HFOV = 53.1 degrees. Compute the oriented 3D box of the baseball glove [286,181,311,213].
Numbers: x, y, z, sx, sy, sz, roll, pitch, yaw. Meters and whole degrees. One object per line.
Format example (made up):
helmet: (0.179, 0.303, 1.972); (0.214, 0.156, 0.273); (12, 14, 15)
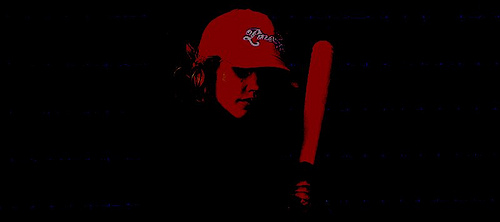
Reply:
baseball glove: (0.641, 1.115, 6.517); (0.297, 0.411, 0.084); (8, 12, 2)
